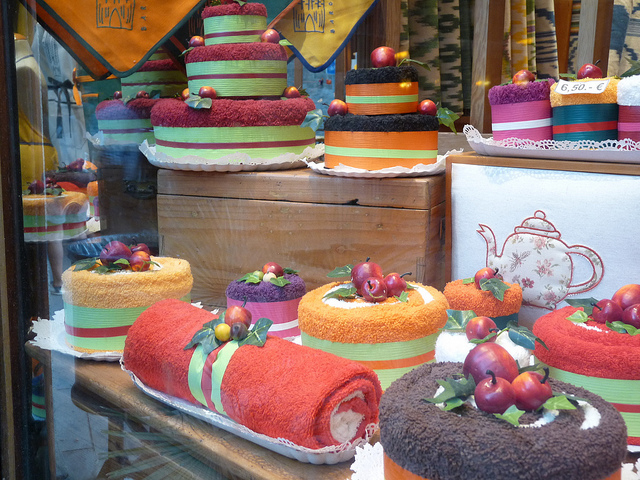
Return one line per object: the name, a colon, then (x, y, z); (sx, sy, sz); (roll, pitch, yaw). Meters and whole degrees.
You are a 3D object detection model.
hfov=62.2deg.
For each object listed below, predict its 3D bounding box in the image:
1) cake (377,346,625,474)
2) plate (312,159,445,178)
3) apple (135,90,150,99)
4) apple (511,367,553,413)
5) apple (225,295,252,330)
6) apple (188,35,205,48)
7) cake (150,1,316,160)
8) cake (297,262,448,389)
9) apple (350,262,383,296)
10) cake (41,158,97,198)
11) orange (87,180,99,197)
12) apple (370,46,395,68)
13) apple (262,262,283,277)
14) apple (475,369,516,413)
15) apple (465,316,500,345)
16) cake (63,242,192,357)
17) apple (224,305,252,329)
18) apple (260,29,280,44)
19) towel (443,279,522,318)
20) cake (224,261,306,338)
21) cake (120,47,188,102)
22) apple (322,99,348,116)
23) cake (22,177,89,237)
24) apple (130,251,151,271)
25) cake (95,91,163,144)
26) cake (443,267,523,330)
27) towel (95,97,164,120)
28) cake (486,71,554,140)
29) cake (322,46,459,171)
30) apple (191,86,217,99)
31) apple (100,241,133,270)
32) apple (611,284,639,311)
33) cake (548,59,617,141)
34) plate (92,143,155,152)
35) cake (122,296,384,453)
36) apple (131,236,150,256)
cake: (0.237, 0.156, 0.739); (0.235, 0.159, 0.238); (-1, -4, -29)
plate: (0.157, -0.186, 1.446); (0.364, 0.043, 0.126); (-4, 11, 9)
apple: (-0.491, -0.402, 1.464); (0.030, 0.027, 0.027); (-6, 29, 2)
apple: (0.293, 0.212, 0.760); (0.053, 0.068, 0.055); (-10, -7, 10)
apple: (-0.163, 0.138, 1.033); (0.041, 0.062, 0.040); (15, -3, -41)
apple: (-0.369, -0.593, 1.585); (0.047, 0.041, 0.039); (-12, 33, -44)
cake: (-0.270, -0.456, 1.713); (0.442, 0.429, 0.443); (-1, 8, 1)
cake: (0.115, 0.121, 1.106); (0.242, 0.168, 0.259); (-1, 10, -2)
apple: (0.093, 0.082, 1.122); (0.061, 0.082, 0.064); (4, -5, -7)
cake: (-0.424, -0.107, 0.913); (0.064, 0.032, 0.051); (10, 20, 16)
orange: (-0.408, -0.091, 0.948); (0.020, 0.019, 0.021); (0, 3, 0)
apple: (0.169, -0.516, 1.486); (0.062, 0.066, 0.064); (11, 24, 29)
apple: (-0.118, 0.063, 1.309); (0.033, 0.036, 0.036); (1, 39, 31)
apple: (0.243, 0.202, 0.761); (0.051, 0.065, 0.049); (-15, 12, -31)
apple: (0.315, 0.185, 1.005); (0.053, 0.046, 0.046); (-26, 21, 52)
cake: (-0.472, 0.133, 1.340); (0.292, 0.241, 0.302); (-2, 7, -10)
apple: (-0.161, 0.151, 1.056); (0.041, 0.045, 0.042); (15, -8, 9)
apple: (-0.148, -0.602, 1.568); (0.042, 0.044, 0.042); (31, 22, 9)
towel: (0.384, 0.135, 1.213); (0.198, 0.075, 0.110); (-6, 10, -3)
cake: (-0.108, 0.148, 1.338); (0.196, 0.184, 0.195); (0, 15, 42)
cake: (-0.483, -0.482, 1.552); (0.163, 0.108, 0.170); (8, 17, 32)
apple: (0.041, -0.382, 1.532); (0.067, 0.050, 0.048); (20, 19, -3)
cake: (-0.458, -0.063, 0.912); (0.090, 0.072, 0.095); (-1, 8, -10)
apple: (-0.430, 0.050, 1.255); (0.038, 0.050, 0.040); (10, -10, -28)
cake: (-0.481, -0.325, 1.402); (0.199, 0.129, 0.199); (-7, 13, -29)
cake: (0.372, 0.125, 1.229); (0.136, 0.131, 0.143); (1, 6, -8)
towel: (-0.451, -0.306, 1.246); (0.128, 0.042, 0.135); (-2, 11, -5)
cake: (0.513, -0.328, 1.348); (0.175, 0.197, 0.171); (-11, 9, -33)
cake: (0.197, -0.382, 1.594); (0.439, 0.385, 0.381); (-9, 9, -10)
apple: (-0.323, -0.423, 1.519); (0.039, 0.034, 0.031); (6, -3, 9)
apple: (-0.469, 0.031, 1.200); (0.041, 0.061, 0.113); (-4, 10, 3)
apple: (0.572, 0.104, 0.987); (0.041, 0.046, 0.043); (0, 4, -11)
cake: (0.609, -0.325, 1.271); (0.156, 0.187, 0.170); (2, 10, 27)
plate: (-0.460, -0.209, 1.202); (0.064, 0.010, 0.068); (-1, 5, -7)
cake: (-0.157, 0.238, 1.026); (0.538, 0.208, 0.160); (2, 12, 34)
apple: (-0.449, 0.016, 1.313); (0.027, 0.040, 0.027); (-22, 19, -7)
